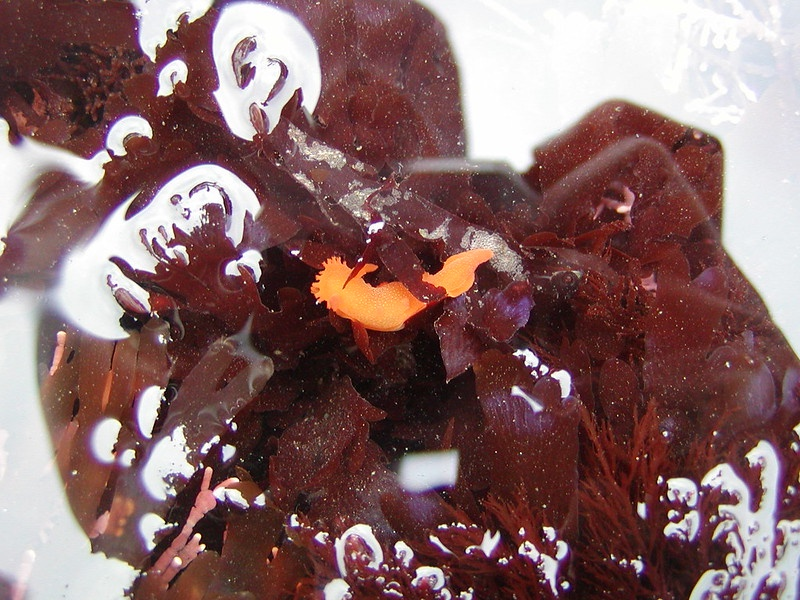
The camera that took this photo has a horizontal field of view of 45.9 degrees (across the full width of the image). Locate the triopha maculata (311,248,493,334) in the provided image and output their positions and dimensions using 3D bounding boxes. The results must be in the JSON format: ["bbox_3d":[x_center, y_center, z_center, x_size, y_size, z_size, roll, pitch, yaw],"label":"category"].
[{"bbox_3d":[0.008,0.000,1.686,0.274,0.156,0.103,-10,-16,10],"label":"triopha maculata"}]
